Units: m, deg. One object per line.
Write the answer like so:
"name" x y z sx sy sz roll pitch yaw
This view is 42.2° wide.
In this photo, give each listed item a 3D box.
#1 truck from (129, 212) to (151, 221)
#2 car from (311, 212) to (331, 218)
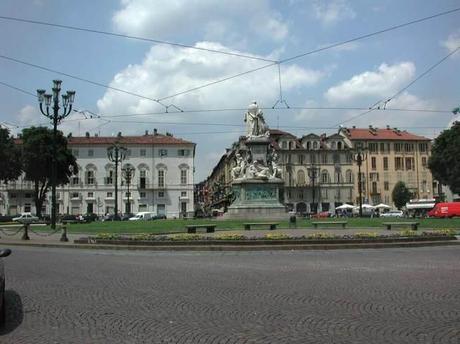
"truck" -11.102 5.637 75.768 1.464 0.846 1.912 -8 -11 35
"car" 12.286 5.709 78.932 2.393 0.718 1.342 1 -7 6
